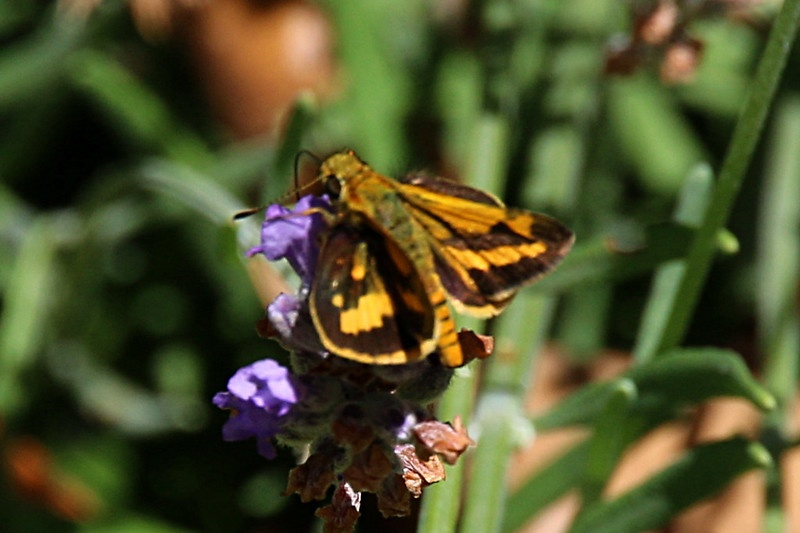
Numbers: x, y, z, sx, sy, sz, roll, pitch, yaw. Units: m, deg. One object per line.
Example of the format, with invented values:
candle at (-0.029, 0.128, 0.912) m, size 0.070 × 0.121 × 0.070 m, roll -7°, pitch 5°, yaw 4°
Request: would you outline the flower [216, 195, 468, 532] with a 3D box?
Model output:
flower at (-0.131, 0.264, 1.987) m, size 0.587 × 0.766 × 0.561 m, roll -9°, pitch -16°, yaw 0°
